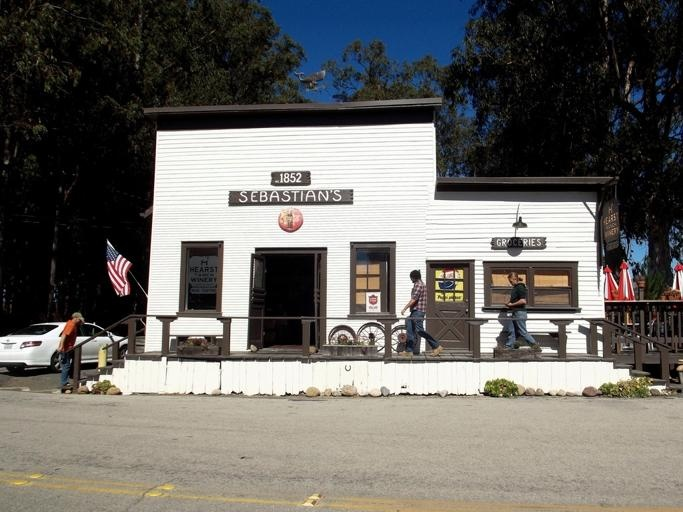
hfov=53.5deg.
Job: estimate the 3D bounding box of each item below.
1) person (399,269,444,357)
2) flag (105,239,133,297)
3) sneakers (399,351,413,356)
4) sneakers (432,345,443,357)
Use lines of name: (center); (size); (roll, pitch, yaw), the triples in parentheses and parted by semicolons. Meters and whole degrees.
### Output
person: (2.005, 1.512, 17.982); (1.134, 2.263, 0.754); (8, -12, -32)
flag: (-7.834, 0.455, 23.797); (0.804, 1.985, 2.956); (5, -12, -18)
sneakers: (1.673, 2.508, 17.512); (0.345, 0.146, 0.175); (1, -11, 4)
sneakers: (2.524, 2.508, 17.953); (0.178, 0.163, 0.414); (16, -4, 1)
